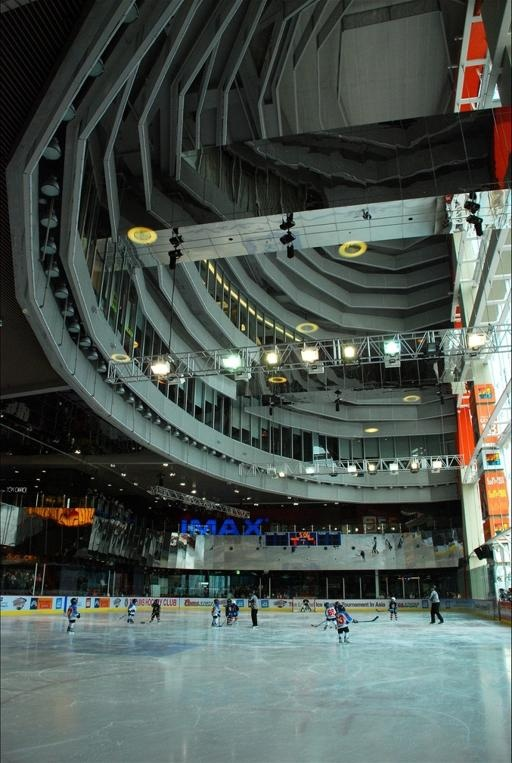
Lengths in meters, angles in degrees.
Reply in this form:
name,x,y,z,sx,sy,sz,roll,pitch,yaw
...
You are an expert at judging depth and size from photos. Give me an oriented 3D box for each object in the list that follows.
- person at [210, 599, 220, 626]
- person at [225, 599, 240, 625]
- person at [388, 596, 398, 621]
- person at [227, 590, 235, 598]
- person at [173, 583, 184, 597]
name,x,y,z,sx,sy,sz,roll,pitch,yaw
person,-1.882,11.036,24.562,0.327,1.201,1.288,3,-22,-8
person,-1.203,11.609,25.933,0.524,1.196,1.433,2,-22,-6
person,8.400,14.023,31.847,0.446,1.272,2.566,-5,-23,14
person,-2.263,19.484,47.303,0.690,0.575,0.535,2,-22,-6
person,-6.924,19.056,46.843,1.019,0.884,0.374,1,-21,-3
